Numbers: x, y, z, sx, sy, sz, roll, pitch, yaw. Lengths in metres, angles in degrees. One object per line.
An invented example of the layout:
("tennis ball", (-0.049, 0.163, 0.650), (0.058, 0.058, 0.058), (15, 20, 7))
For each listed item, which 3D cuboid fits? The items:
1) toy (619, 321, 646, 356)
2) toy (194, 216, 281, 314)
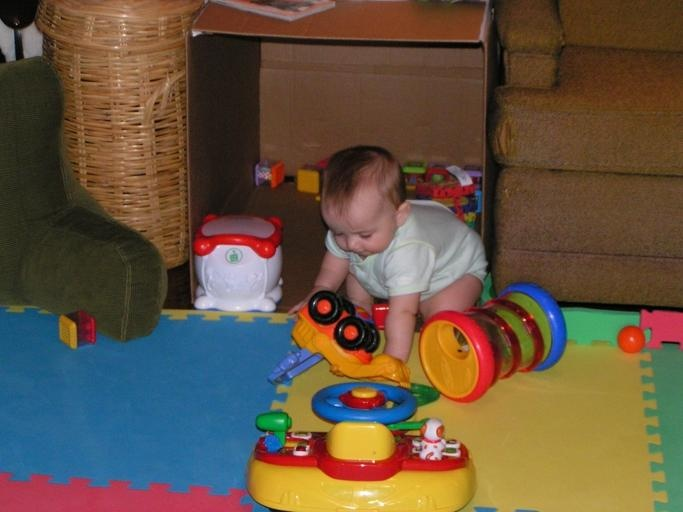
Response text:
("toy", (0.719, 0.203, 1.636), (0.079, 0.061, 0.048), (-5, 15, -24))
("toy", (-0.290, 0.028, 1.917), (0.239, 0.233, 0.237), (1, 20, -1))
